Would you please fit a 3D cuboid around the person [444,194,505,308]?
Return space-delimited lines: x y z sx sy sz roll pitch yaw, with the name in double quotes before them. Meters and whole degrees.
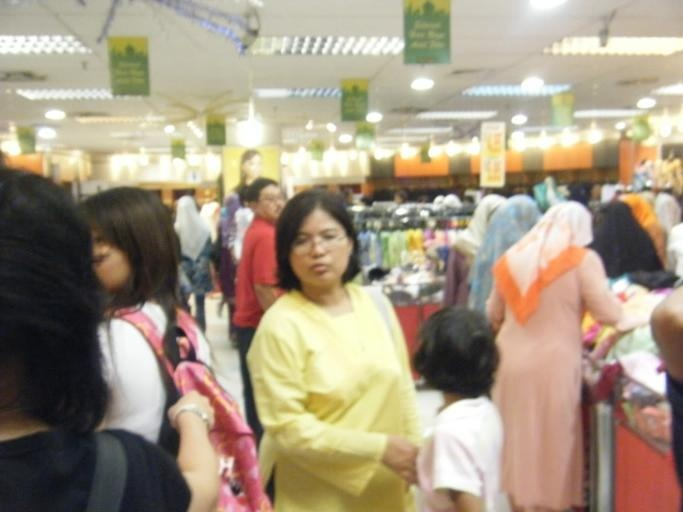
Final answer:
"person" 0.949 0.006 4.015 0.399 0.982 0.354 13 24 34
